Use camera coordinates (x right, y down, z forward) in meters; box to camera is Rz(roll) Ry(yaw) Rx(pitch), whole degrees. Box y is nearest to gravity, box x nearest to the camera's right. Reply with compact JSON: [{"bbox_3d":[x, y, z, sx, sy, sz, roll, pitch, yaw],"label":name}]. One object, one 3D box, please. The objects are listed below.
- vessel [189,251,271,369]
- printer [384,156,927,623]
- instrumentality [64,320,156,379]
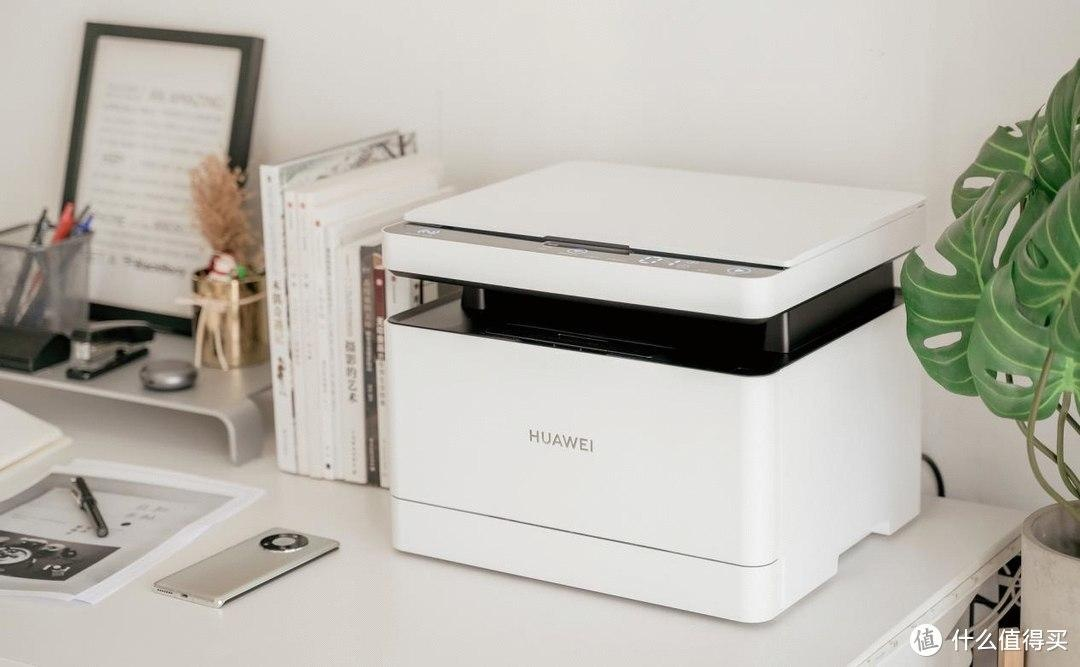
[{"bbox_3d":[-0.593,-0.028,1.736,0.149,0.164,0.152,-3,8,-20],"label":"vessel"},{"bbox_3d":[0.191,0.073,1.458,0.700,0.457,0.624,4,12,31],"label":"printer"},{"bbox_3d":[-0.825,0.024,1.757,0.074,0.076,0.201,3,12,12],"label":"instrumentality"}]
